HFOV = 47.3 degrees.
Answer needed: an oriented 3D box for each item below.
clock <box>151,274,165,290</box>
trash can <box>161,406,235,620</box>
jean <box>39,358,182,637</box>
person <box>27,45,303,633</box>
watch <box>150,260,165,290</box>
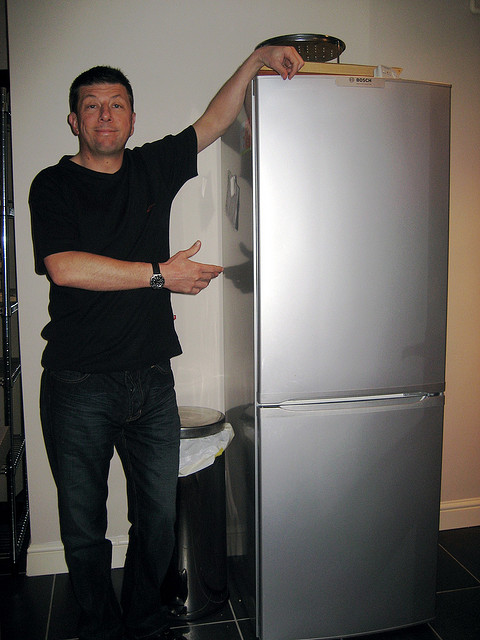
[{"bbox_3d":[-0.224,-0.107,1.500,0.032,0.037,0.036,-3,-13,-3],"label":"clock"},{"bbox_3d":[-0.165,0.701,1.926,0.316,0.547,0.343,0,-11,1],"label":"trash can"},{"bbox_3d":[-0.366,0.549,1.666,0.396,0.876,0.205,-6,7,-26],"label":"jean"},{"bbox_3d":[-0.267,0.140,1.650,0.652,1.752,0.338,-6,6,-20],"label":"person"},{"bbox_3d":[-0.227,-0.125,1.532,0.036,0.066,0.068,-5,43,-14],"label":"watch"}]
